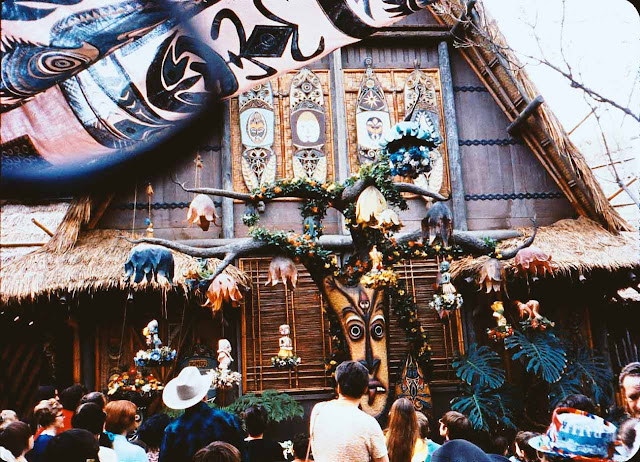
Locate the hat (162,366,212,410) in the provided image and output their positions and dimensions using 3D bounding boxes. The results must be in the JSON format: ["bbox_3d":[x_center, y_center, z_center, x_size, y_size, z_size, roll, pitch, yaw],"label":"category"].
[{"bbox_3d":[-1.387,1.785,7.944,0.426,0.503,0.181,14,-53,21],"label":"hat"}]

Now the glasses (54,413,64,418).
[{"bbox_3d":[-2.892,2.061,8.219,0.098,0.078,0.101,12,-15,-28],"label":"glasses"}]
